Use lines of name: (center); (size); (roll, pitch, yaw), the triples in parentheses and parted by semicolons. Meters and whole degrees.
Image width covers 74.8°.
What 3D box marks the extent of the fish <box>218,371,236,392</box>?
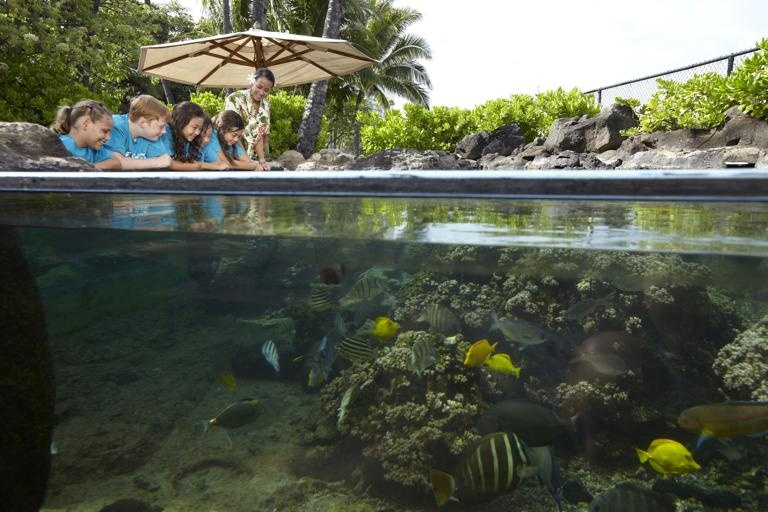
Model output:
fish: (-2.038, 1.623, 6.532); (0.190, 0.229, 0.460); (7, -11, -18)

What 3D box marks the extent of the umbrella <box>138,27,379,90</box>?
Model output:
umbrella: (-2.711, -4.378, 10.740); (2.403, 0.849, 2.657); (16, 35, 8)

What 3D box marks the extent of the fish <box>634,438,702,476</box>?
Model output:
fish: (3.236, 2.260, 5.663); (0.466, 0.355, 0.196); (3, -10, 3)

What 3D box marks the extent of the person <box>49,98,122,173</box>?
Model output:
person: (-3.515, -1.412, 5.930); (0.847, 0.774, 0.638); (13, 12, -22)

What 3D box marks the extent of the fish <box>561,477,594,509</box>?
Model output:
fish: (2.538, 3.149, 6.724); (0.470, 0.354, 0.173); (3, 21, 15)
